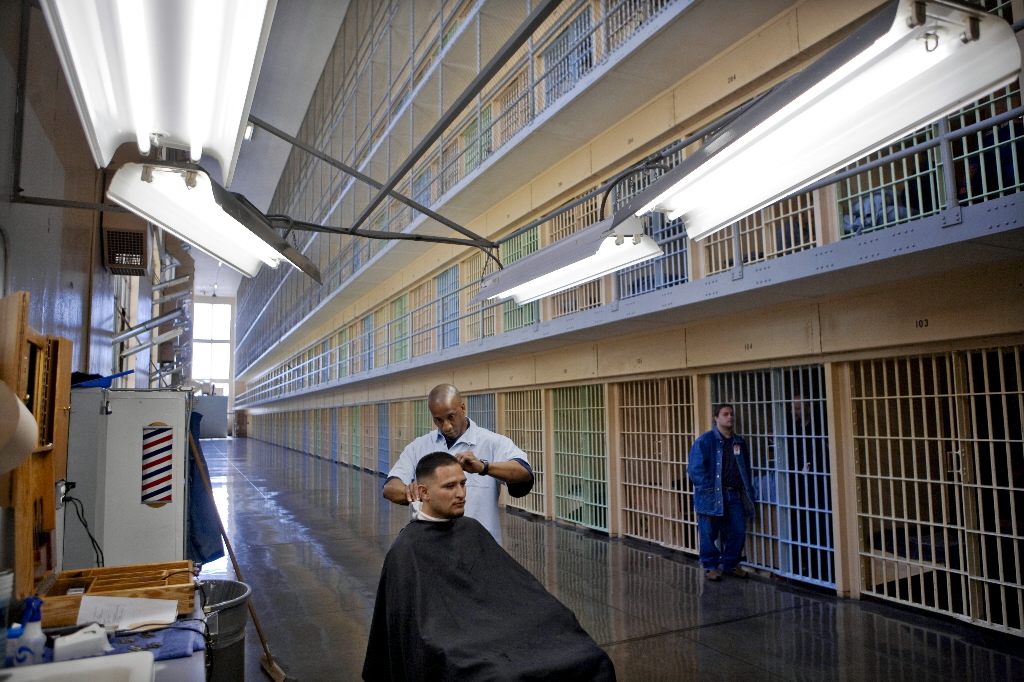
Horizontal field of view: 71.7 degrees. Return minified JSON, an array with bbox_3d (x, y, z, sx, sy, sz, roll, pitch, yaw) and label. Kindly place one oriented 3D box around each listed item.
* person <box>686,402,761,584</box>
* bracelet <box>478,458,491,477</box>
[{"bbox_3d":[2.506,1.781,8.407,0.785,2.018,0.284,-1,-1,-16],"label":"person"},{"bbox_3d":[-0.209,0.936,5.191,0.072,0.116,0.104,1,-3,-3],"label":"bracelet"}]
